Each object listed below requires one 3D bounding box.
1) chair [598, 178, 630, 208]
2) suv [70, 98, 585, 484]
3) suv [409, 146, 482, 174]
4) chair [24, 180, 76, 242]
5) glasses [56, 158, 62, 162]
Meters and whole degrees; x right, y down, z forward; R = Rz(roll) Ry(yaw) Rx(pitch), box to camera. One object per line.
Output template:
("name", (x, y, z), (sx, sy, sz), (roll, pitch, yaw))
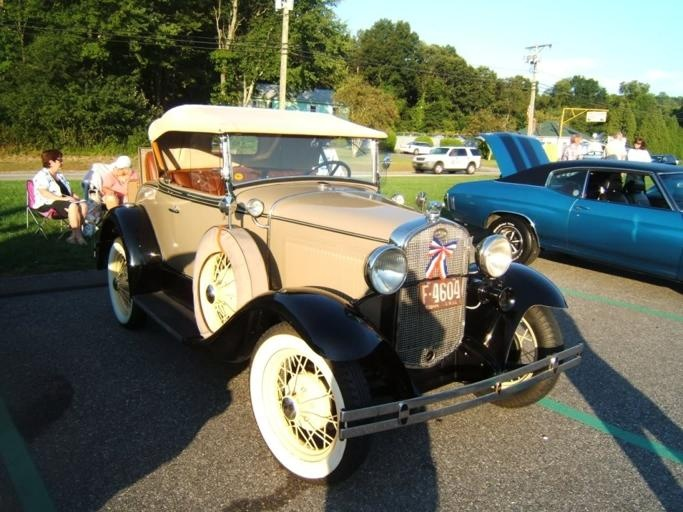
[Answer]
("chair", (3.777, -0.881, 7.729), (0.338, 0.433, 0.499), (3, 1, 7))
("suv", (-0.473, -0.093, 5.123), (2.482, 2.274, 4.490), (-9, 18, -36))
("suv", (5.733, -5.257, 29.571), (3.515, 1.423, 1.698), (-5, 13, -31))
("chair", (-5.211, -0.813, 9.435), (0.662, 0.965, 0.750), (-9, 1, -24))
("glasses", (-4.797, -1.641, 9.241), (0.058, 0.026, 0.073), (1, 20, -37))
